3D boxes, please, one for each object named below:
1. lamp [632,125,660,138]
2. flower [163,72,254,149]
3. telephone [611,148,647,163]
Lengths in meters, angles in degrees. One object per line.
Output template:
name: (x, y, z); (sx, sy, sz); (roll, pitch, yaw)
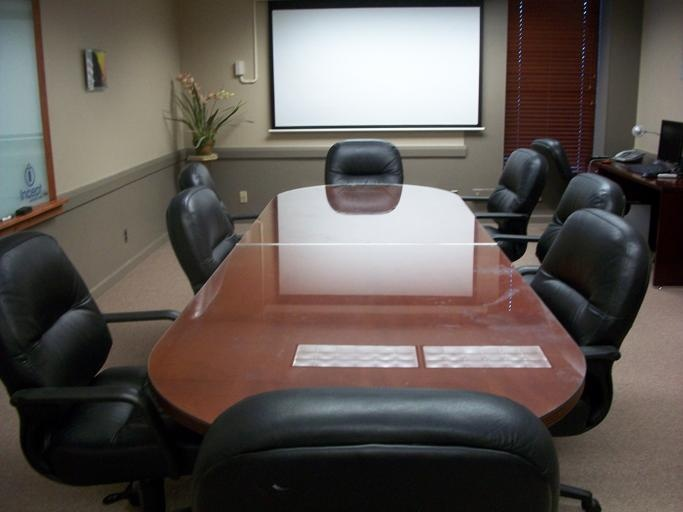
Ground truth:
lamp: (3.056, -1.265, 5.198); (0.220, 0.141, 0.158); (-4, 8, -16)
flower: (-1.554, -1.509, 5.669); (0.550, 0.733, 0.773); (-2, 2, 31)
telephone: (2.729, -0.953, 4.918); (0.261, 0.102, 0.227); (-6, 22, 17)
